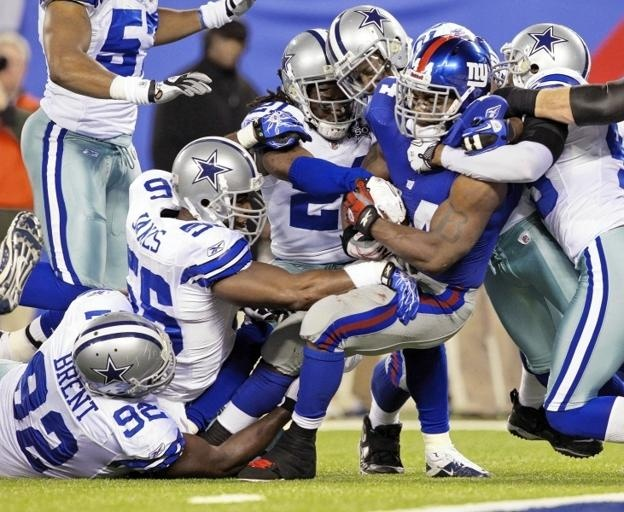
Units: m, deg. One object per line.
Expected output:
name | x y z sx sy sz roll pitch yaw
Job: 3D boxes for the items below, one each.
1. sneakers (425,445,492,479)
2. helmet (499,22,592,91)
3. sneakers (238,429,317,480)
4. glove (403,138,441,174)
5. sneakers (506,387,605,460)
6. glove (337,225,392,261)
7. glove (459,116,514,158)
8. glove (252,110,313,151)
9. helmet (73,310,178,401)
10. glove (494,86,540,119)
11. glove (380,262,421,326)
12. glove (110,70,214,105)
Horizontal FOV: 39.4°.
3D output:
sneakers | 0.669 0.981 4.125 0.357 0.127 0.115 -1 1 23
helmet | 1.148 -0.952 4.246 0.425 0.289 0.328 27 36 17
sneakers | -0.201 0.868 3.775 0.443 0.253 0.155 7 -8 -23
glove | 0.489 -0.432 3.801 0.156 0.148 0.093 8 19 19
sneakers | 1.196 0.850 4.331 0.217 0.236 0.580 -6 5 -36
glove | 0.242 -0.039 3.886 0.201 0.091 0.142 24 -4 5
glove | 0.742 -0.498 3.670 0.213 0.099 0.149 -29 10 -25
glove | -0.135 -0.593 4.129 0.270 0.130 0.159 2 57 -1
helmet | -0.803 0.431 3.583 0.432 0.303 0.305 7 52 -30
glove | 0.908 -0.673 3.828 0.115 0.127 0.206 -8 19 -30
glove | 0.408 0.168 3.763 0.171 0.262 0.082 -27 2 -34
glove | -0.733 -0.808 4.198 0.620 0.175 0.168 -2 12 -1
